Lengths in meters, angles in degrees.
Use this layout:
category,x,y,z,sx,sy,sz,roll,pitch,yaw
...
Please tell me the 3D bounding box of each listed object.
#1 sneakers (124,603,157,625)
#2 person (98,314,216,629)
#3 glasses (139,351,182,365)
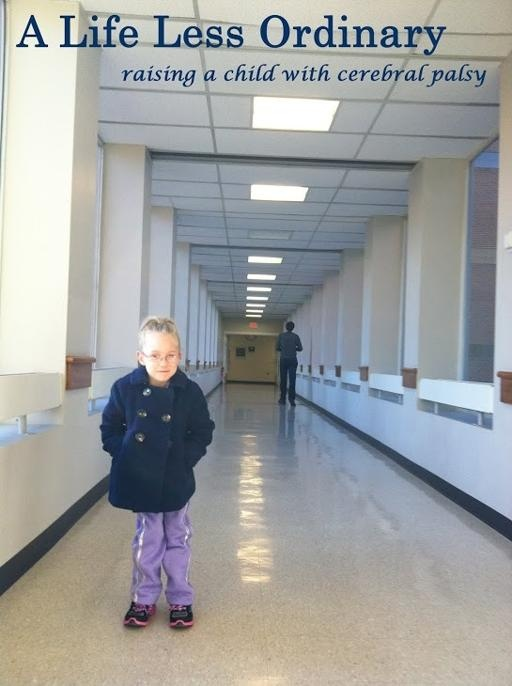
category,x,y,z,sx,sy,sz,roll,pitch,yaw
sneakers,-0.375,0.860,1.647,0.046,0.057,0.121,2,-31,3
person,-0.318,0.413,1.669,0.361,0.987,0.264,4,-3,-28
glasses,-0.301,0.049,1.619,0.124,0.039,0.137,3,-3,-13
